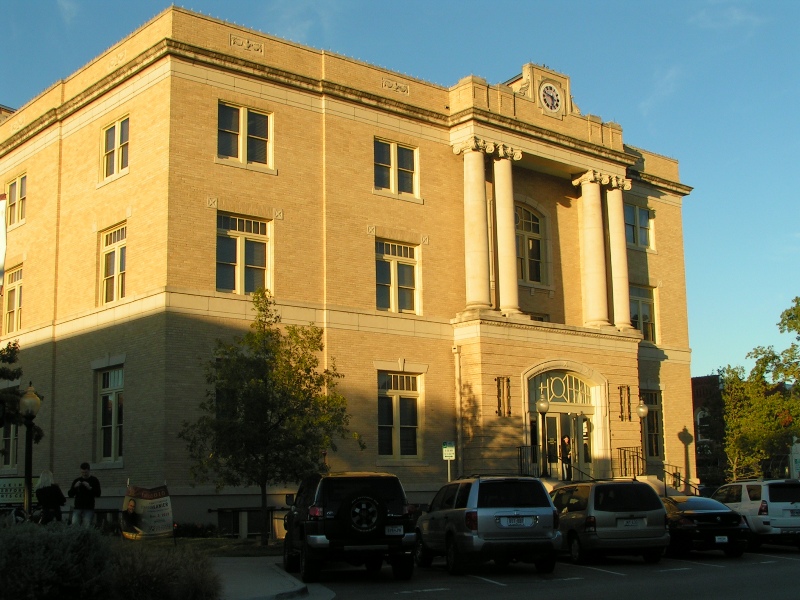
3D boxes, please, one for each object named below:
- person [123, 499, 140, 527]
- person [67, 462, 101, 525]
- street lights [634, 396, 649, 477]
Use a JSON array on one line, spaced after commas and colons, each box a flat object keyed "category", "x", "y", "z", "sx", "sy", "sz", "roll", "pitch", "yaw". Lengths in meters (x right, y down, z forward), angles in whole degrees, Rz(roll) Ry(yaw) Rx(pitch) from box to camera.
[{"category": "person", "x": -8.054, "y": 6.419, "z": 30.377, "sx": 0.187, "sy": 0.686, "sz": 0.526, "roll": -4, "pitch": -3, "yaw": -26}, {"category": "person", "x": -8.319, "y": 5.121, "z": 26.704, "sx": 0.761, "sy": 1.677, "sz": 1.353, "roll": 3, "pitch": -16, "yaw": -16}, {"category": "street lights", "x": 10.877, "y": 6.132, "z": 45.249, "sx": 0.799, "sy": 3.411, "sz": 0.728, "roll": -6, "pitch": -16, "yaw": 22}]
